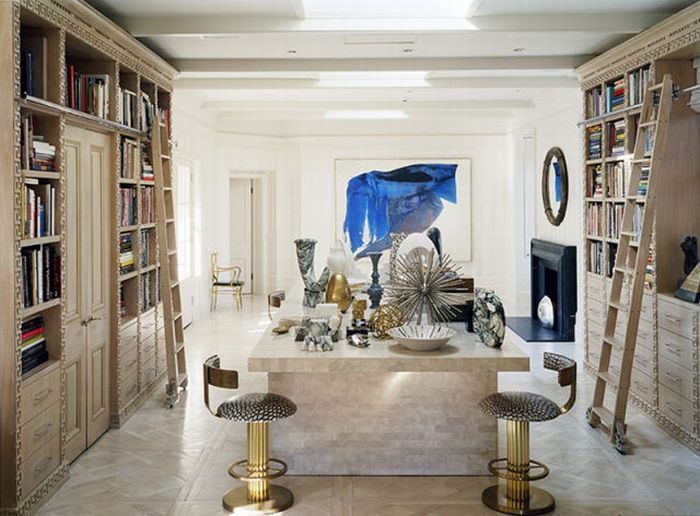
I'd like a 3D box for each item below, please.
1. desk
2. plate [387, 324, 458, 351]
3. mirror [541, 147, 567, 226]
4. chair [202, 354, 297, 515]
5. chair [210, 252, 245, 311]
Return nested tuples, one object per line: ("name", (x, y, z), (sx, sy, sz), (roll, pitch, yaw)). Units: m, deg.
("desk", (0.456, 1.846, 4.702), (1.977, 1.015, 2.865), (-7, -37, 12))
("plate", (0.484, 0.549, 3.431), (0.437, 0.124, 0.436), (-2, 6, -12))
("mirror", (3.350, -1.161, 8.169), (0.205, 1.287, 0.870), (0, 5, 8))
("chair", (-0.638, 1.152, 3.795), (0.848, 1.361, 0.829), (-1, 4, -11))
("chair", (-2.499, 0.396, 10.272), (0.602, 1.109, 1.976), (-1, 6, -10))
